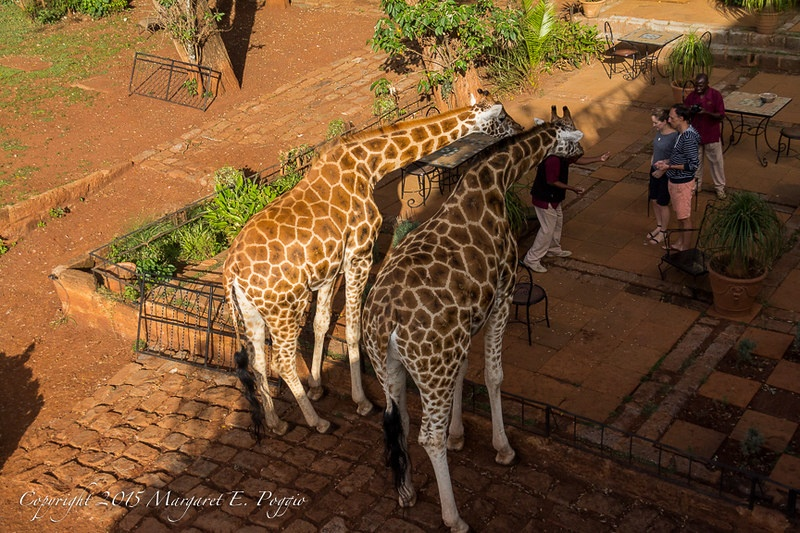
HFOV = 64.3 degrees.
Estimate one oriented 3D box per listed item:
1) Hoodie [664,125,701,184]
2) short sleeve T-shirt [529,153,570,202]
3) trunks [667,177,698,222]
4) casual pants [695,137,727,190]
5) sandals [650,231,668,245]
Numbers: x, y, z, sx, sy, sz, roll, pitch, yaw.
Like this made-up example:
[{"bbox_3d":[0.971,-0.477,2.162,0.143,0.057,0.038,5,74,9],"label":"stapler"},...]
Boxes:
[{"bbox_3d":[4.642,-1.902,10.557,0.440,0.688,0.691,7,42,19],"label":"Hoodie"},{"bbox_3d":[2.609,-1.635,10.979,0.520,0.957,0.795,9,33,14],"label":"short sleeve T-shirt"},{"bbox_3d":[4.725,-1.150,10.763,0.425,0.676,0.388,5,38,12],"label":"trunks"},{"bbox_3d":[5.867,-2.038,12.174,0.567,0.266,1.337,9,63,11],"label":"casual pants"},{"bbox_3d":[4.586,-0.533,11.314,0.275,0.193,0.141,-1,38,3],"label":"sandals"}]
